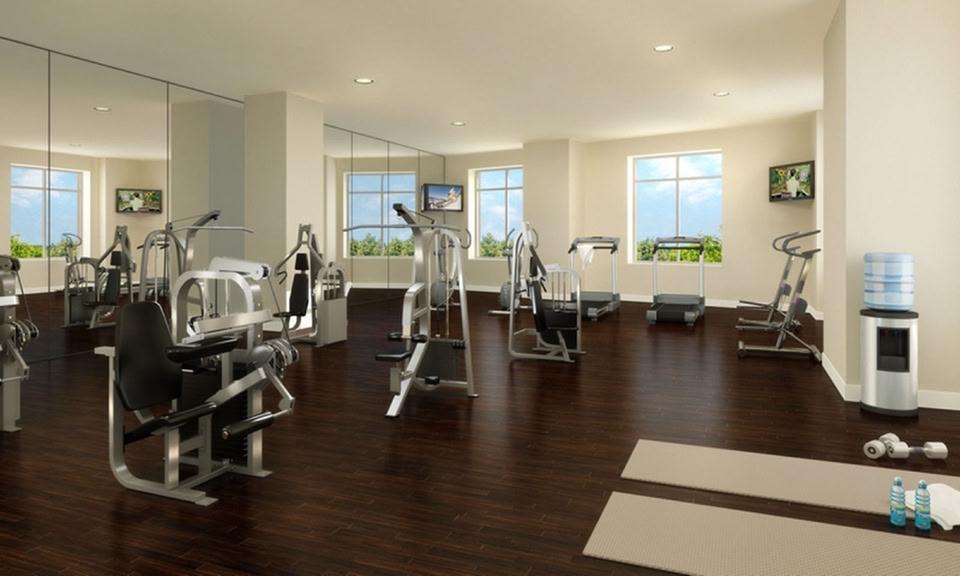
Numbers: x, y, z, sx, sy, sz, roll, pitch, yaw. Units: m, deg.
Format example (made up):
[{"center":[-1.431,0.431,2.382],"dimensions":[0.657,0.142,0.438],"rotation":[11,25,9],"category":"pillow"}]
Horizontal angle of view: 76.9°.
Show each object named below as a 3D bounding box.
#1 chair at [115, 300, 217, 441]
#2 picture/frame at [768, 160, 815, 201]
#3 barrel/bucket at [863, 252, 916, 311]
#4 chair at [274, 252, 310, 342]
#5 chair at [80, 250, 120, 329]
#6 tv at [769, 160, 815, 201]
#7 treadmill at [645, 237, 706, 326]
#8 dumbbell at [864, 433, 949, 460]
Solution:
[{"center":[-2.549,0.586,4.887],"dimensions":[0.638,1.065,0.731],"rotation":[3,5,43],"category":"chair"},{"center":[5.930,-2.023,11.481],"dimensions":[0.095,0.754,0.917],"rotation":[0,0,-37],"category":"picture/frame"},{"center":[4.190,-0.071,6.193],"dimensions":[0.453,0.613,0.408],"rotation":[1,6,36],"category":"barrel/bucket"},{"center":[-2.784,0.038,8.996],"dimensions":[0.493,1.427,0.607],"rotation":[-1,-22,0],"category":"chair"},{"center":[-5.268,0.038,8.437],"dimensions":[0.439,1.112,0.320],"rotation":[-6,-3,22],"category":"chair"},{"center":[5.930,-2.017,11.470],"dimensions":[0.093,0.722,0.893],"rotation":[1,0,-37],"category":"tv"},{"center":[3.692,-0.162,11.436],"dimensions":[1.002,1.449,1.832],"rotation":[1,11,26],"category":"treadmill"},{"center":[3.707,1.397,5.280],"dimensions":[0.364,0.093,0.366],"rotation":[-2,0,-6],"category":"dumbbell"}]
